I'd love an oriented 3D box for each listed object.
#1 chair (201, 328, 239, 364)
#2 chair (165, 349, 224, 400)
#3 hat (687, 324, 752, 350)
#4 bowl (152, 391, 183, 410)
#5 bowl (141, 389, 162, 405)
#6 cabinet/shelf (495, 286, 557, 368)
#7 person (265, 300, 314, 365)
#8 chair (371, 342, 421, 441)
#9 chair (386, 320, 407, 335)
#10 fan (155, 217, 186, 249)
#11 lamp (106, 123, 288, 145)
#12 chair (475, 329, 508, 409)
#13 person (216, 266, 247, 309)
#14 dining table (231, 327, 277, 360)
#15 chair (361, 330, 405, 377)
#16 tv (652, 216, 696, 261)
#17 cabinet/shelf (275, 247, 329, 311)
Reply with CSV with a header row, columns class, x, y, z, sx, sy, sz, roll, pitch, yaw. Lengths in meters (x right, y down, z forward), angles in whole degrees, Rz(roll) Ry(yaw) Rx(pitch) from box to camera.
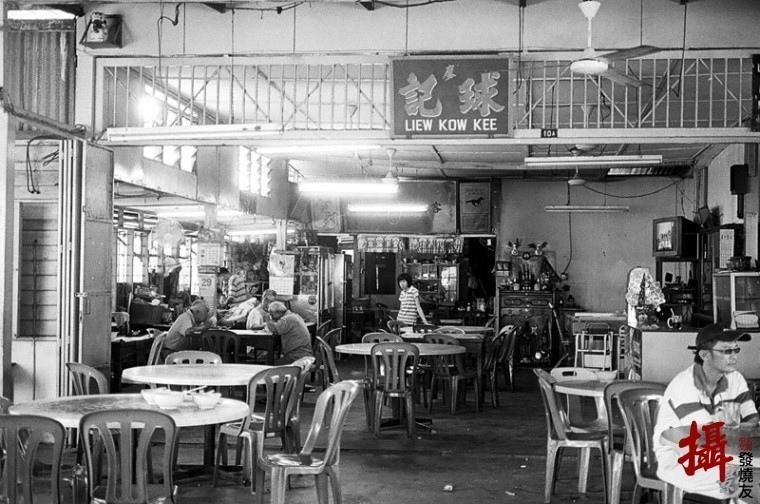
class,x,y,z,sx,sy,sz,roll,pitch,yaw
chair,-2.426,1.450,16.635,0.443,0.868,0.604,1,2,6
chair,-2.397,1.579,13.874,0.533,0.855,0.559,2,-13,-9
hat,3.355,0.852,10.724,0.457,0.167,0.290,-10,-8,23
bowl,-2.252,1.600,11.537,0.307,0.197,0.168,1,-4,-15
bowl,-2.450,1.568,11.604,0.173,0.133,0.184,0,-9,0
cabinet/shelf,3.121,1.605,22.347,1.281,2.040,1.419,-1,-3,2
person,-1.420,1.364,16.323,0.699,1.175,0.713,-5,-4,23
chair,0.219,1.918,14.877,0.661,1.305,0.416,0,-4,2
chair,0.299,1.318,18.665,0.234,0.326,0.223,2,-5,-5
fan,-3.608,-0.332,18.458,0.476,0.525,0.142,4,-2,-21
lamp,-2.503,-1.577,14.292,1.731,0.164,0.306,0,13,14
chair,1.862,1.839,17.524,0.886,1.353,0.941,0,0,5
person,-2.809,0.701,20.477,0.611,0.769,1.203,1,-8,0
dining table,-1.959,1.481,17.196,0.532,0.429,0.777,0,-1,8
chair,0.025,1.472,16.191,0.673,0.843,0.590,1,-12,1
tv,5.361,-0.252,19.652,0.655,0.840,0.985,1,-4,-3
cabinet/shelf,-1.690,0.510,21.765,1.132,1.675,1.107,-2,-5,12
